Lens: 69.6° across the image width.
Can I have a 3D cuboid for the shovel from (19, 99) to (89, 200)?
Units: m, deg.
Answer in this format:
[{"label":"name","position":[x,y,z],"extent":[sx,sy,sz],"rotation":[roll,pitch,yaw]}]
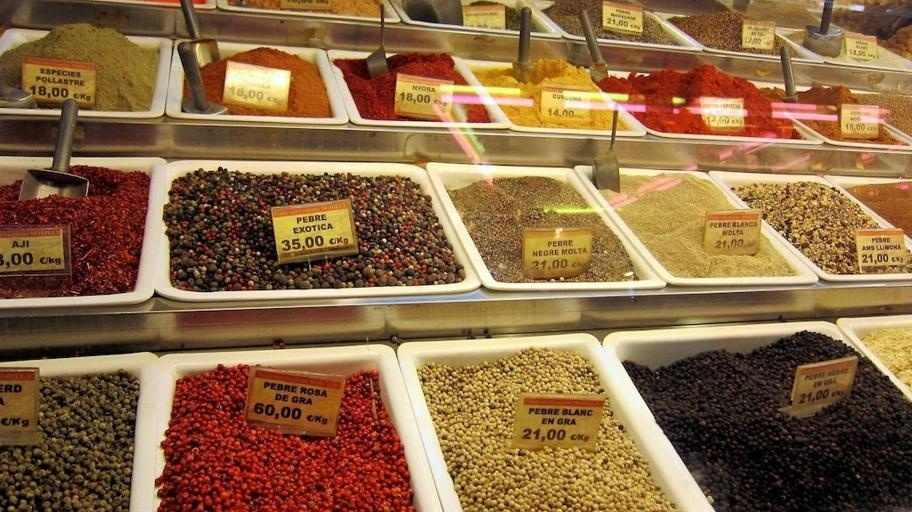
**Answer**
[{"label":"shovel","position":[-2.032,-0.507,3.357],"extent":[0.304,0.093,0.506],"rotation":[10,77,-14]}]
